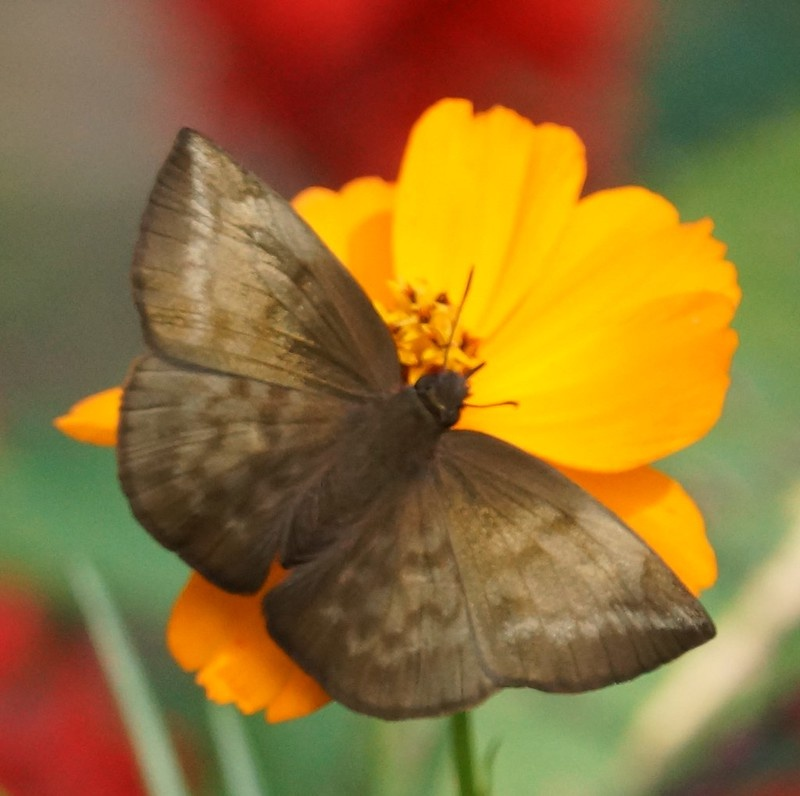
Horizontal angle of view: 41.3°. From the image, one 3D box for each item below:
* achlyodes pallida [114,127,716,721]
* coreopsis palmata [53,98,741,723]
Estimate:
[{"bbox_3d":[0.009,0.017,0.506,0.237,0.207,0.360,1,35,0],"label":"achlyodes pallida"},{"bbox_3d":[0.037,-0.007,0.654,0.381,0.292,0.373,-13,39,-20],"label":"coreopsis palmata"}]
